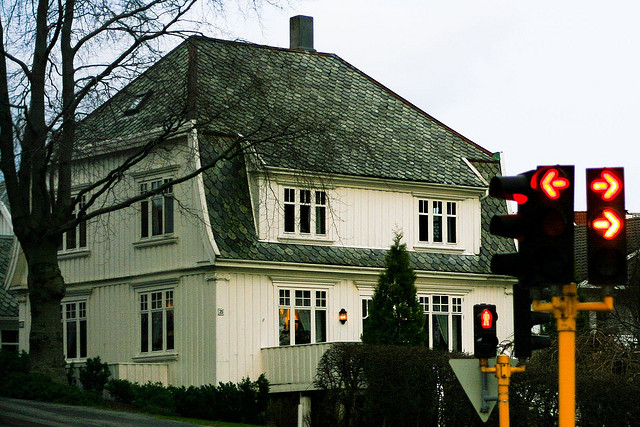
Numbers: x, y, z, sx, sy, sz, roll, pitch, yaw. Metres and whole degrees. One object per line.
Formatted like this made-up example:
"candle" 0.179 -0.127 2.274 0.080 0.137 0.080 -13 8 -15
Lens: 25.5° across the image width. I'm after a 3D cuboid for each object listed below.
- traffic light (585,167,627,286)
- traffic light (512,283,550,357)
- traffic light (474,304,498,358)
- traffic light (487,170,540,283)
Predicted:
"traffic light" 6.554 0.322 32.374 0.860 2.680 0.500 -1 5 11
"traffic light" 5.195 2.668 34.396 0.838 1.750 0.599 0 -19 6
"traffic light" 4.204 3.011 35.867 0.545 1.335 0.591 -1 5 2
"traffic light" 4.545 0.326 32.787 1.175 2.580 0.605 0 5 20
